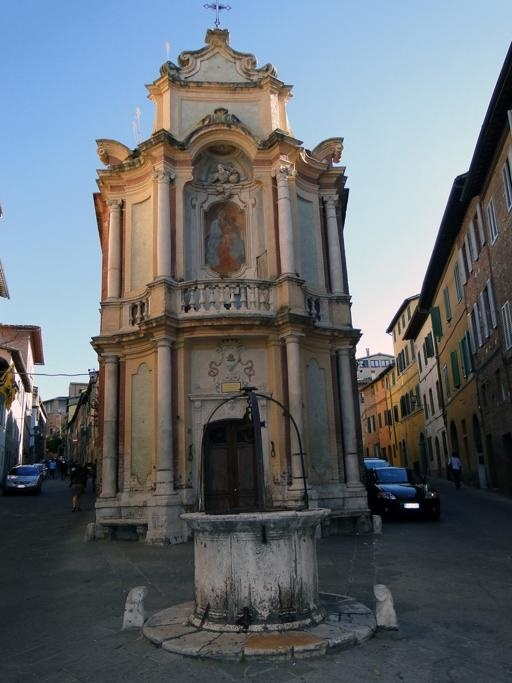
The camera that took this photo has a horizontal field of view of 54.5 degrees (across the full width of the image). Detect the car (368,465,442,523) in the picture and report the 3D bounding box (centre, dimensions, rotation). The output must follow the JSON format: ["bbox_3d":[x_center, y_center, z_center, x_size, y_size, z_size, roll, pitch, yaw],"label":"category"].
[{"bbox_3d":[4.532,4.705,15.495,1.655,1.569,2.495,-2,-15,-9],"label":"car"}]

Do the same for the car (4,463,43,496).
[{"bbox_3d":[-12.784,7.668,27.279,1.843,1.524,2.233,5,-17,-30],"label":"car"}]
